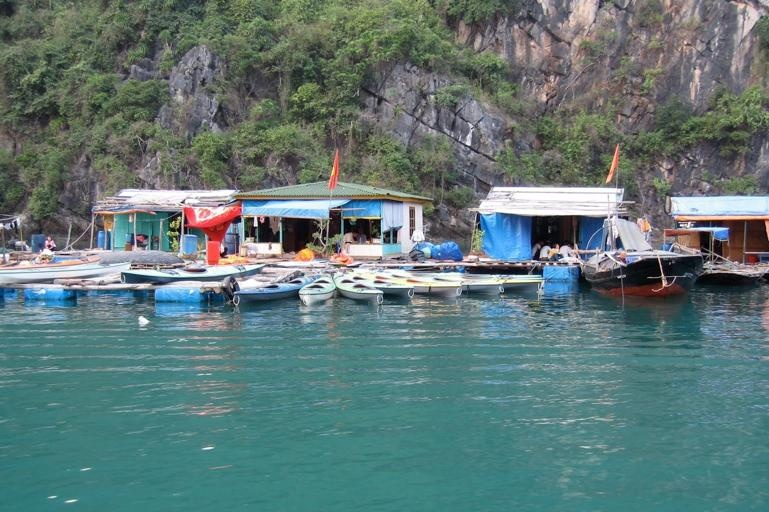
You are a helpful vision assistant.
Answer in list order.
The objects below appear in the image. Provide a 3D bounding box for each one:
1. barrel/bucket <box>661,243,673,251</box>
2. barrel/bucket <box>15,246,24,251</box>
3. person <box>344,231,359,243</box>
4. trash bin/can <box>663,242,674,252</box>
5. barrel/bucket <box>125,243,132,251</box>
[{"bbox_3d":[18.477,-0.590,63.017,0.762,0.695,0.736,0,3,0],"label":"barrel/bucket"},{"bbox_3d":[-27.096,-0.552,71.780,0.778,0.423,0.762,0,5,0],"label":"barrel/bucket"},{"bbox_3d":[-2.175,-1.291,65.901,0.923,0.664,1.625,-3,6,12],"label":"person"},{"bbox_3d":[18.479,-0.578,62.828,0.793,0.734,0.779,-1,1,-14],"label":"trash bin/can"},{"bbox_3d":[-17.694,-0.637,66.729,0.538,0.531,0.533,0,-5,0],"label":"barrel/bucket"}]
